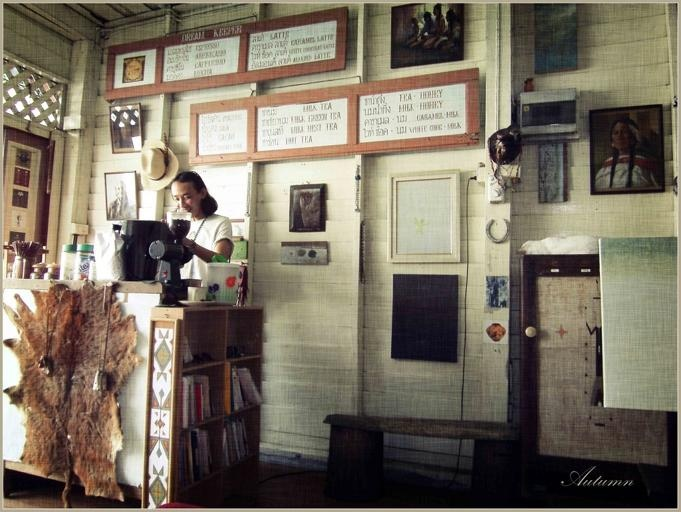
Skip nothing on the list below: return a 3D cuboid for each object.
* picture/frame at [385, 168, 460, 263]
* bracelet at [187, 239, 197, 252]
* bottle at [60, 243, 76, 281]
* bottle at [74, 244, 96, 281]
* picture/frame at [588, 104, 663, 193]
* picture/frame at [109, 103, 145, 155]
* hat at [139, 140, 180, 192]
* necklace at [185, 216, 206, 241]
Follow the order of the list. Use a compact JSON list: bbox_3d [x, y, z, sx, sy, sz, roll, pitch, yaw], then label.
[{"bbox_3d":[0.428,-0.193,3.467,0.458,0.580,0.038,-1,-18,11],"label":"picture/frame"},{"bbox_3d":[-0.765,-0.058,3.458,0.033,0.050,0.053,2,-2,13],"label":"bracelet"},{"bbox_3d":[-1.416,0.027,3.457,0.096,0.178,0.042,1,-3,16],"label":"bottle"},{"bbox_3d":[-1.308,0.024,3.437,0.071,0.183,0.168,3,-3,-43],"label":"bottle"},{"bbox_3d":[1.399,-0.523,3.263,0.411,0.599,0.024,0,-2,18],"label":"picture/frame"},{"bbox_3d":[-1.311,-0.796,4.108,0.282,0.372,0.051,3,8,18],"label":"picture/frame"},{"bbox_3d":[-1.086,-0.554,4.065,0.235,0.285,0.107,21,16,21],"label":"hat"},{"bbox_3d":[-0.829,-0.155,3.845,0.123,0.125,0.029,0,-18,39],"label":"necklace"}]
